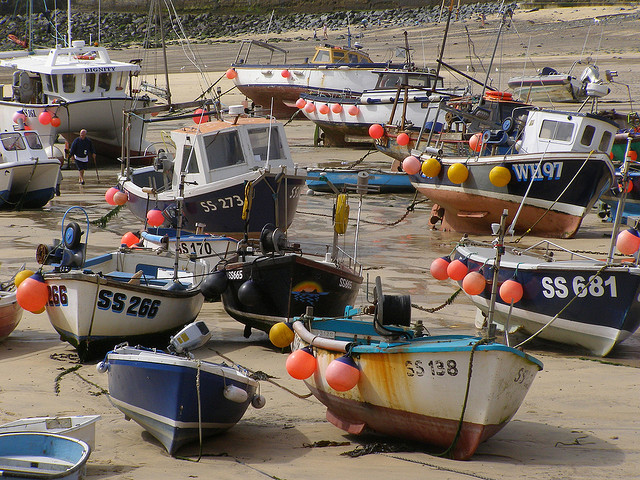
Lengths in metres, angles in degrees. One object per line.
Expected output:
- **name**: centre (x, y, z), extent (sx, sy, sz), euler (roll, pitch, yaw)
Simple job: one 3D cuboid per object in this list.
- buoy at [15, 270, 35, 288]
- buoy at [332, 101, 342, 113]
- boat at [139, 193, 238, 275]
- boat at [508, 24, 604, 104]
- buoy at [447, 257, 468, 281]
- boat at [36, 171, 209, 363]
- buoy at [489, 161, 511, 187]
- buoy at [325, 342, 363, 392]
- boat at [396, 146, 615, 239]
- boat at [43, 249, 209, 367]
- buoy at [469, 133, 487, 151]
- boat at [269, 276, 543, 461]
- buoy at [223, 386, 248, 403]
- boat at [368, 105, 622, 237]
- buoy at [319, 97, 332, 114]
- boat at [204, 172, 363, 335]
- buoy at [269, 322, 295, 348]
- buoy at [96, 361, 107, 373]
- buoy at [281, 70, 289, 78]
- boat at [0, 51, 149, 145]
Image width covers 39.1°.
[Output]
- **buoy**: centre (-4.126, 0.509, 12.465), extent (0.318, 0.245, 0.254), euler (-3, -21, 2)
- **buoy**: centre (0.431, -3.955, 26.486), extent (0.351, 0.290, 0.294), euler (11, -15, 17)
- **boat**: centre (-2.020, 0.094, 14.492), extent (2.782, 0.745, 0.655), euler (5, 3, 7)
- **boat**: centre (5.352, -3.725, 20.649), extent (0.992, 0.874, 2.661), euler (8, 3, -35)
- **buoy**: centre (1.906, 0.398, 12.727), extent (0.240, 0.204, 0.320), euler (-18, 21, 42)
- **boat**: centre (-3.354, 0.557, 13.530), extent (2.715, 2.358, 3.313), euler (9, 11, 15)
- **buoy**: centre (3.389, -1.245, 17.328), extent (0.576, 0.440, 0.465), euler (2, 8, 7)
- **buoy**: centre (0.231, 1.414, 10.206), extent (0.476, 0.456, 0.543), euler (4, 13, 41)
- **boat**: centre (3.415, -0.951, 18.278), extent (4.435, 1.257, 2.196), euler (3, 5, 42)
- **boat**: centre (-2.764, 0.718, 13.107), extent (2.463, 1.389, 2.866), euler (4, 15, 7)
- **buoy**: centre (3.112, -2.035, 18.472), extent (0.508, 0.380, 0.420), euler (1, 1, 5)
- **boat**: centre (0.890, 1.633, 10.294), extent (2.455, 1.427, 1.028), euler (11, 20, 29)
- **buoy**: centre (-0.977, 1.749, 10.265), extent (0.261, 0.120, 0.185), euler (25, -26, -32)
- **boat**: centre (3.341, -1.429, 18.688), extent (2.541, 1.641, 5.136), euler (0, 5, -41)
- **buoy**: centre (0.069, -3.985, 26.865), extent (0.366, 0.302, 0.306), euler (15, 1, 7)
- **boat**: centre (-0.519, 0.215, 14.121), extent (2.620, 1.696, 3.409), euler (-1, 5, -17)
- **buoy**: centre (-0.503, 1.197, 11.479), extent (0.424, 0.319, 0.329), euler (1, 5, 3)
- **buoy**: centre (-2.601, 1.494, 10.633), extent (0.149, 0.124, 0.089), euler (4, 40, -5)
- **buoy**: centre (-1.242, -5.609, 30.105), extent (0.168, 0.264, 0.274), euler (-7, 19, -28)
- **boat**: centre (-6.376, -3.788, 23.693), extent (3.475, 1.997, 5.526), euler (-4, 12, -27)
